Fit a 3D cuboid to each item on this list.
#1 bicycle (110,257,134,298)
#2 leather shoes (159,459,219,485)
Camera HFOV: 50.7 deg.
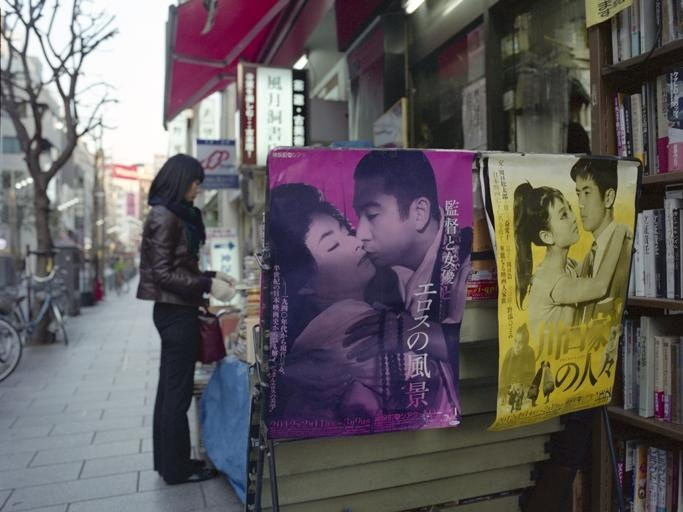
[{"bbox_3d":[-12.903,1.250,42.236,1.322,1.386,4.263,-7,-21,-15],"label":"bicycle"},{"bbox_3d":[-1.289,1.861,6.162,0.383,0.134,0.223,4,-5,-26],"label":"leather shoes"}]
